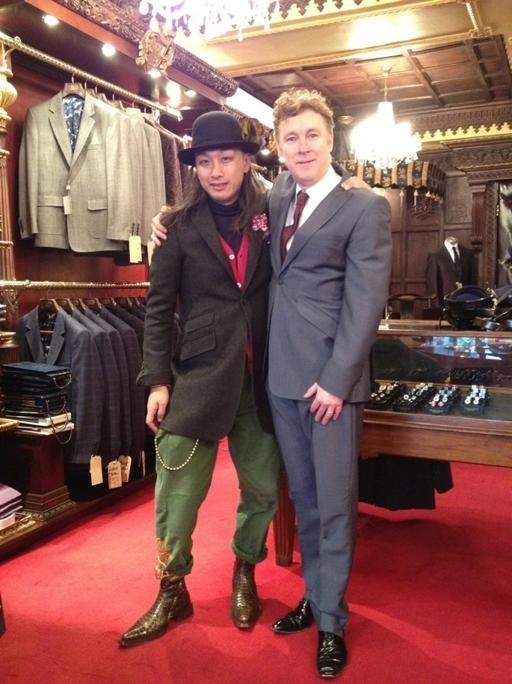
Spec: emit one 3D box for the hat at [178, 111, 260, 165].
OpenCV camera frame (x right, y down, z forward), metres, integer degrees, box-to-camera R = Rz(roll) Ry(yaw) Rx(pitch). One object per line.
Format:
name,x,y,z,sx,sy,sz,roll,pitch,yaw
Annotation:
hat,-0.108,-0.592,1.404,0.231,0.147,0.150,0,-2,-2

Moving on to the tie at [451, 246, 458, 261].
tie,2.524,-1.120,6.171,0.130,0.184,0.055,1,-3,-33

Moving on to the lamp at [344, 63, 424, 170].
lamp,1.514,-2.663,5.728,0.823,1.185,0.806,-5,12,-23

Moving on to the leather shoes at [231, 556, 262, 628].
leather shoes,-0.035,0.767,1.565,0.079,0.152,0.224,0,12,-5

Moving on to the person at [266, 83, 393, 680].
person,0.156,0.078,1.343,0.264,1.507,0.419,1,-3,-37

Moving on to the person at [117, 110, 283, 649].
person,-0.150,0.096,1.452,0.491,1.503,0.328,0,-3,-20

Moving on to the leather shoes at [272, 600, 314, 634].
leather shoes,0.126,0.821,1.488,0.053,0.073,0.168,-8,-15,34

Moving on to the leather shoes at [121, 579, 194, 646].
leather shoes,-0.322,0.786,1.467,0.087,0.173,0.251,-7,-9,35
